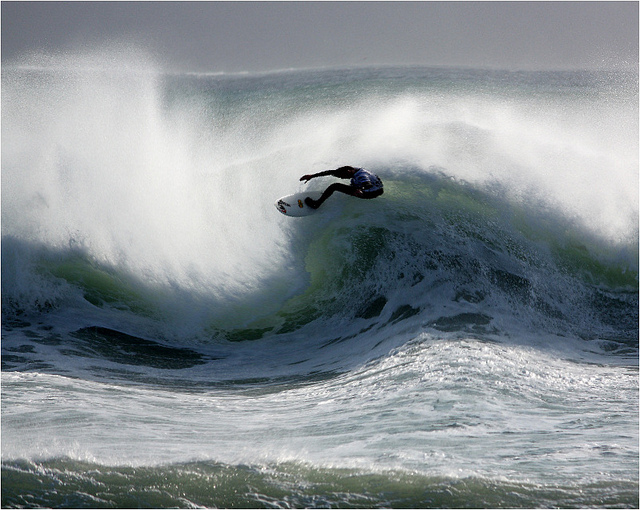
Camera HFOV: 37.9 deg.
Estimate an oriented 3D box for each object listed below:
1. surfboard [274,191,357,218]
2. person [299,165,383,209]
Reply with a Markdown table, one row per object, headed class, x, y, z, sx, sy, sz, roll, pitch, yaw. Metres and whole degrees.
| class | x | y | z | sx | sy | sz | roll | pitch | yaw |
| --- | --- | --- | --- | --- | --- | --- | --- | --- | --- |
| surfboard | -0.241 | -1.191 | 21.596 | 0.430 | 0.576 | 2.756 | 1 | -5 | -31 |
| person | 0.534 | -1.459 | 20.272 | 1.740 | 1.007 | 0.882 | 8 | -19 | 10 |
